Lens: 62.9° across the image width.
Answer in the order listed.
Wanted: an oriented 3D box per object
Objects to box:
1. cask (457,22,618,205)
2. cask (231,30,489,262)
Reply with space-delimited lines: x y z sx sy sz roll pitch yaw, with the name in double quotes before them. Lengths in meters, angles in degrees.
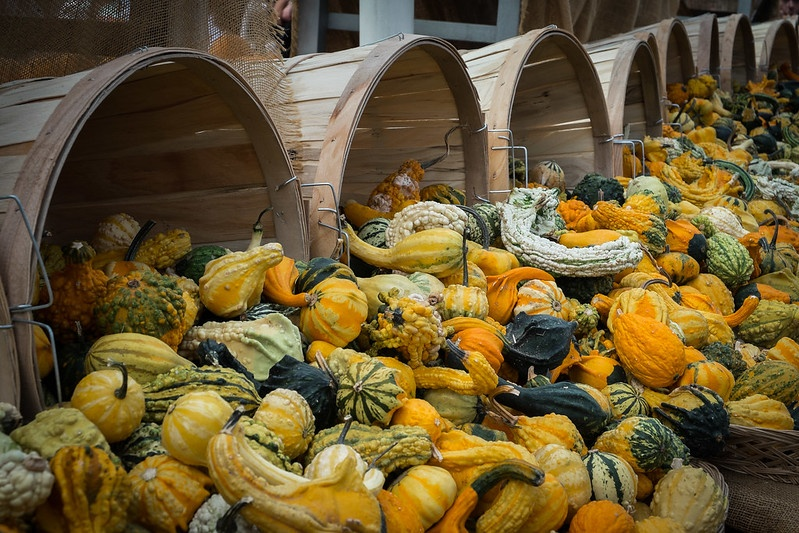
"cask" 0.729 -0.875 4.238 0.911 1.082 1.136 -4 1 42
"cask" -0.344 -0.692 3.494 1.199 1.197 1.172 4 29 44
